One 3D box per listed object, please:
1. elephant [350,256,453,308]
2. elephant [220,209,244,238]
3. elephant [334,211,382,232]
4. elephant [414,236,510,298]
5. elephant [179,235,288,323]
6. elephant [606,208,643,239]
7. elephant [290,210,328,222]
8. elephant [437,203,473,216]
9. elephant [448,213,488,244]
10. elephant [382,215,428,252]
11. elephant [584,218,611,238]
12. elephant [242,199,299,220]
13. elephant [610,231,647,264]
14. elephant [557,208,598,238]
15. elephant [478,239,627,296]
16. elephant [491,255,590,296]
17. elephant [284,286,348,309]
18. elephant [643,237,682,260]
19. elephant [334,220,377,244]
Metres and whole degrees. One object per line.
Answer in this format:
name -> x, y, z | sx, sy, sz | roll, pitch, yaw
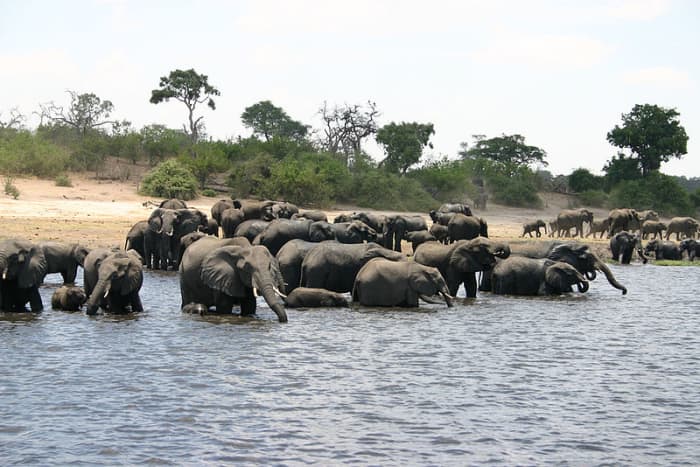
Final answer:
elephant -> 1.275, 1.368, 22.622 | 2.353, 1.148, 0.667 | 1, 15, -2
elephant -> -4.893, -0.469, 35.529 | 1.062, 1.236, 2.467 | 6, 8, -3
elephant -> 0.470, -0.381, 33.860 | 1.915, 0.970, 0.827 | 2, 9, -6
elephant -> 3.218, 1.062, 24.972 | 3.291, 1.841, 1.163 | -1, 10, 35
elephant -> -2.971, 1.175, 21.233 | 1.739, 2.032, 3.846 | -1, 2, -42
elephant -> 15.079, -0.702, 47.337 | 2.765, 1.566, 1.060 | -5, 10, -34
elephant -> -1.610, -0.683, 34.360 | 1.373, 0.693, 0.563 | 4, -3, -28
elephant -> 5.459, -1.193, 43.387 | 1.926, 0.984, 0.842 | -1, 3, -25
elephant -> 5.331, -0.282, 38.494 | 1.144, 1.354, 2.530 | 9, 10, 43
elephant -> 2.219, -0.112, 35.412 | 2.647, 1.342, 0.847 | -6, 15, -27
elephant -> 14.577, -0.328, 48.852 | 1.893, 1.034, 0.893 | -6, 13, -31
elephant -> -3.325, -0.979, 36.183 | 2.222, 1.108, 0.892 | -6, 22, -17
elephant -> 11.934, 0.649, 36.911 | 1.123, 1.274, 2.269 | 3, -2, -22
elephant -> 13.093, -0.530, 49.790 | 2.946, 1.599, 1.096 | -6, 5, -21
elephant -> 6.009, 1.152, 26.724 | 4.515, 1.702, 1.827 | -2, 9, 4
elephant -> 5.506, 1.248, 25.583 | 2.897, 1.362, 1.077 | -1, 13, -3
elephant -> -0.878, 1.753, 22.653 | 1.585, 0.753, 0.606 | -1, 9, -5
elephant -> 14.178, 0.818, 39.029 | 1.475, 0.905, 1.749 | -4, 15, -21
elephant -> 0.148, -0.052, 27.688 | 1.499, 0.720, 0.610 | -3, 10, 5
